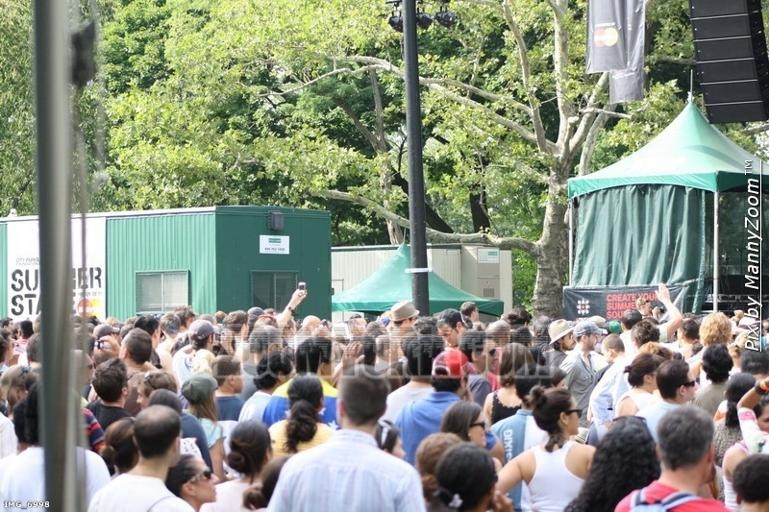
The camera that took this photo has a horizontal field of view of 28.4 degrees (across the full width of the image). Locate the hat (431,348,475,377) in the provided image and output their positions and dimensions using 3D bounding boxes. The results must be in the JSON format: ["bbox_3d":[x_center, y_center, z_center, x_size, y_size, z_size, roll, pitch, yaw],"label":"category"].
[{"bbox_3d":[0.947,1.447,20.663,0.391,0.367,0.684,-2,-1,45],"label":"hat"}]

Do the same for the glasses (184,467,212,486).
[{"bbox_3d":[-2.342,2.799,19.221,0.196,0.058,0.198,-34,-15,21],"label":"glasses"}]

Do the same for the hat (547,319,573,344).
[{"bbox_3d":[2.686,1.102,23.084,0.367,0.138,0.361,-31,2,-27],"label":"hat"}]

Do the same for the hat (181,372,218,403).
[{"bbox_3d":[-2.509,1.770,20.424,0.325,0.220,0.430,-18,35,11],"label":"hat"}]
